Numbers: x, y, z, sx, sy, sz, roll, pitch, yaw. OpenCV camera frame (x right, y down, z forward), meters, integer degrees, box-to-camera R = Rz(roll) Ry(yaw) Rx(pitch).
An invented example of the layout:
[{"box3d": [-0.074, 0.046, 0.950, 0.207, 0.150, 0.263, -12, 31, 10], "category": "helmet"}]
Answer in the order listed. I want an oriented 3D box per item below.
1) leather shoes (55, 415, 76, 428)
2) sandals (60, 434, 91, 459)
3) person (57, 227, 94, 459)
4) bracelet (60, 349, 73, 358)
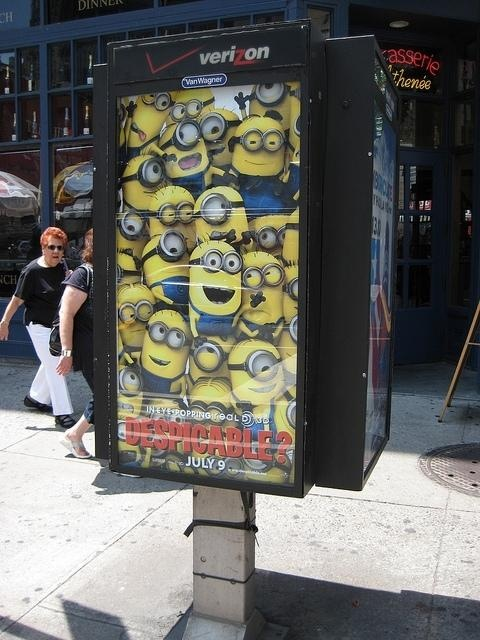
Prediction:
[{"box3d": [-1.597, 0.920, 5.436, 0.240, 0.098, 0.088, 3, 9, 40], "category": "leather shoes"}, {"box3d": [-1.279, 0.994, 4.655, 0.253, 0.100, 0.135, 45, 33, 1], "category": "sandals"}, {"box3d": [-1.233, 0.222, 4.449, 0.262, 1.729, 0.686, -2, 5, -16], "category": "person"}, {"box3d": [-1.291, 0.242, 4.434, 0.076, 0.070, 0.062, -3, 6, -28], "category": "bracelet"}]
